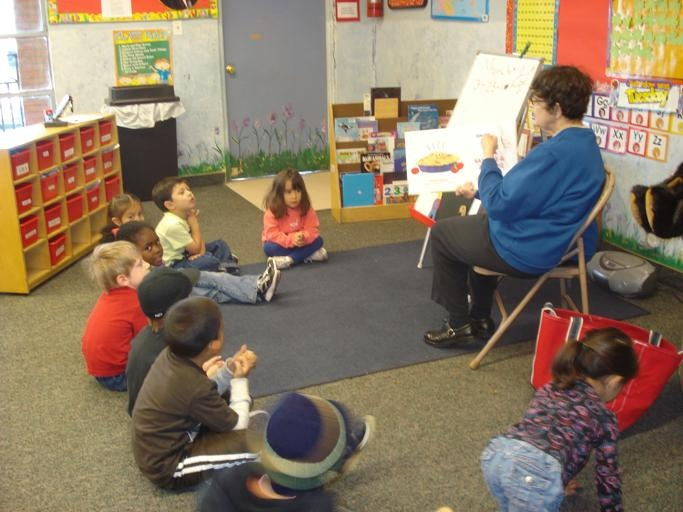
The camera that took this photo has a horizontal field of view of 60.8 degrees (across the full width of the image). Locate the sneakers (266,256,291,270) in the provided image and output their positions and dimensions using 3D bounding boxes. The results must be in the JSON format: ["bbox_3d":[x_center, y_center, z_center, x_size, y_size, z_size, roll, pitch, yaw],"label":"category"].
[{"bbox_3d":[-0.429,0.042,3.939,0.171,0.083,0.071,2,11,-3],"label":"sneakers"}]

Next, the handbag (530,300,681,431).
[{"bbox_3d":[1.050,0.449,2.312,0.234,0.313,0.403,9,14,-45],"label":"handbag"}]

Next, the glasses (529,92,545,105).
[{"bbox_3d":[0.879,-0.708,2.597,0.068,0.022,0.068,6,20,-10],"label":"glasses"}]

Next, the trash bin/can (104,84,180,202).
[{"bbox_3d":[-1.843,-1.163,5.733,0.884,1.262,0.942,-9,18,-23],"label":"trash bin/can"}]

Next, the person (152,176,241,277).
[{"bbox_3d":[-0.906,-0.284,3.921,0.624,0.787,0.532,-4,24,-8],"label":"person"}]

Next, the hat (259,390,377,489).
[{"bbox_3d":[-0.080,0.475,1.516,0.279,0.279,0.216,-27,56,13],"label":"hat"}]

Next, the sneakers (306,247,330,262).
[{"bbox_3d":[-0.169,-0.008,4.065,0.145,0.066,0.068,-7,9,-21],"label":"sneakers"}]

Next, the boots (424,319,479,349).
[{"bbox_3d":[0.568,0.407,3.048,0.266,0.149,0.122,2,17,4],"label":"boots"}]

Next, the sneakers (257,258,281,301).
[{"bbox_3d":[-0.452,0.164,3.546,0.130,0.292,0.105,9,35,-16],"label":"sneakers"}]

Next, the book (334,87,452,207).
[{"bbox_3d":[0.353,-0.785,4.353,0.893,0.781,0.355,-8,19,-15],"label":"book"}]
